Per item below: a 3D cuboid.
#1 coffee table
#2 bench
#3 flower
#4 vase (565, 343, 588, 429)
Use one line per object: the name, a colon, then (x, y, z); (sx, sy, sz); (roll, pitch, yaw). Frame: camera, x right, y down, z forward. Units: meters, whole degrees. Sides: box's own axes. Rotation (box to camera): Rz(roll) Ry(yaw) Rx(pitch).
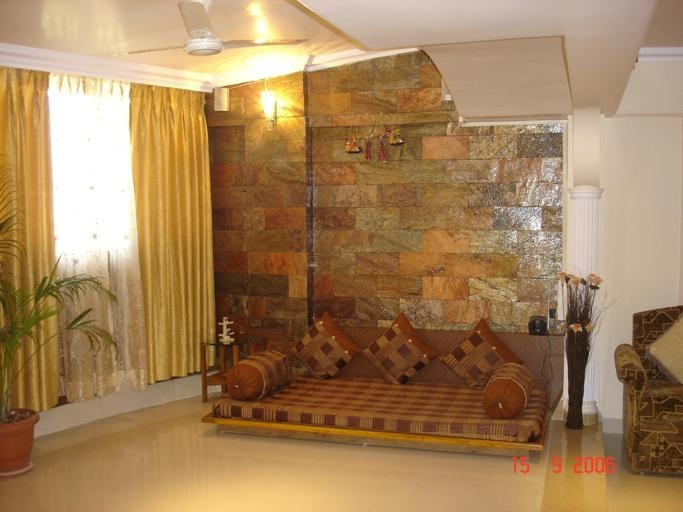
coffee table: (-1.328, 1.208, 6.075); (0.727, 0.715, 0.707); (1, 0, 13)
bench: (0.380, 1.216, 5.250); (3.015, 0.755, 1.330); (1, 9, 13)
flower: (2.210, 0.454, 5.076); (0.378, 0.641, 0.669); (3, 10, 24)
vase: (2.143, 1.190, 5.040); (0.188, 0.811, 0.142); (0, 10, 7)
